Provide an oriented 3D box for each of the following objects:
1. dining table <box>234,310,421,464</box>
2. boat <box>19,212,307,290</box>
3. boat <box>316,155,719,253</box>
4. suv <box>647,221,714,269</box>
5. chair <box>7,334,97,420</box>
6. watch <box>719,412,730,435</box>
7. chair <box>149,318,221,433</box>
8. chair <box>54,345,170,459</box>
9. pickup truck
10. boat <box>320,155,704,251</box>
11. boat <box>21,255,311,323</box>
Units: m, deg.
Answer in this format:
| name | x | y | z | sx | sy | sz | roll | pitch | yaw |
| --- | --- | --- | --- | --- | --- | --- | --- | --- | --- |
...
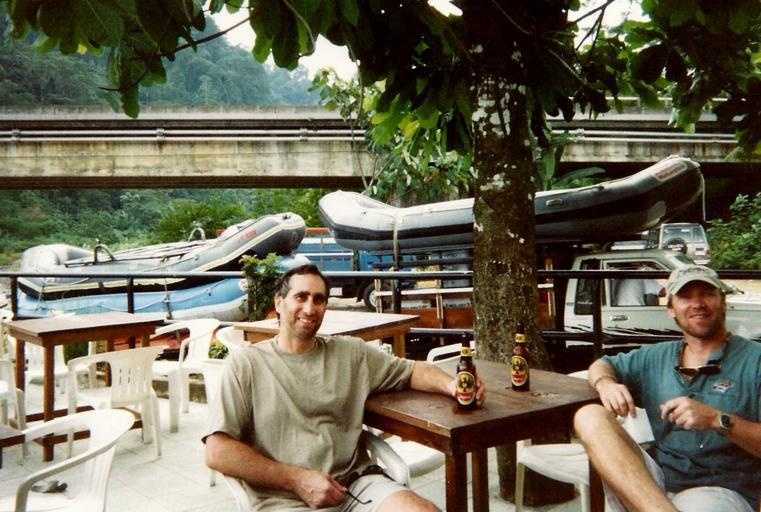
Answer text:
| name | x | y | z | sx | sy | sz | roll | pitch | yaw |
| --- | --- | --- | --- | --- | --- | --- | --- | --- | --- |
| dining table | -0.388 | 0.953 | 5.123 | 1.486 | 0.746 | 1.119 | -1 | -1 | 30 |
| boat | -5.398 | 0.065 | 17.346 | 5.362 | 1.215 | 2.727 | -10 | -2 | 8 |
| boat | 2.003 | -0.641 | 12.640 | 5.607 | 1.268 | 2.673 | -5 | -4 | 28 |
| suv | 5.744 | -0.224 | 13.970 | 1.118 | 0.995 | 1.837 | 0 | 5 | -1 |
| chair | -3.415 | 1.290 | 7.596 | 0.769 | 0.987 | 0.845 | -5 | 1 | 22 |
| watch | 2.197 | 1.072 | 4.644 | 0.077 | 0.114 | 0.109 | 12 | -24 | 7 |
| chair | -2.263 | 1.338 | 8.164 | 0.841 | 1.007 | 0.775 | -8 | -5 | 32 |
| chair | -2.612 | 1.444 | 7.235 | 0.927 | 1.090 | 0.938 | 0 | 2 | 6 |
| pickup truck | 2.733 | 0.652 | 9.898 | 4.197 | 1.310 | 1.488 | -5 | -3 | 30 |
| boat | 2.083 | -0.634 | 12.609 | 5.584 | 1.259 | 2.650 | -4 | -3 | 28 |
| boat | -4.960 | 1.033 | 16.485 | 5.928 | 0.916 | 2.787 | -1 | -2 | -14 |
